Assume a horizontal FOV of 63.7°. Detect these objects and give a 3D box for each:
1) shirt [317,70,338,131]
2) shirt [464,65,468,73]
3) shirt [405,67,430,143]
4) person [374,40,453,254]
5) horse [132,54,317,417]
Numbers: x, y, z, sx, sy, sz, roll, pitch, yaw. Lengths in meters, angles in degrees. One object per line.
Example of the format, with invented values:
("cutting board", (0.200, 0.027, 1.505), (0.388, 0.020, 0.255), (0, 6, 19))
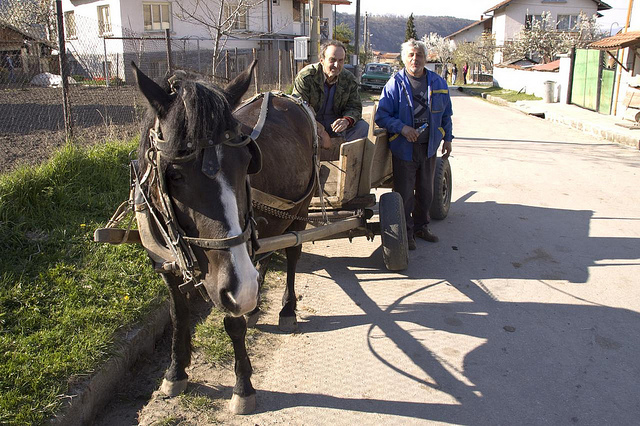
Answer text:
("shirt", (0.109, -1.496, 6.829), (0.189, 0.801, 0.216), (1, 24, 2))
("shirt", (12.725, -12.704, 45.172), (0.232, 0.652, 1.118), (3, 14, 14))
("shirt", (1.385, -1.497, 7.211), (0.392, 0.906, 0.198), (-4, 13, 1))
("person", (1.322, -0.942, 7.302), (0.943, 2.959, 1.337), (5, 14, 20))
("horse", (-0.940, 0.082, 5.461), (1.551, 3.141, 2.828), (3, 14, 14))
